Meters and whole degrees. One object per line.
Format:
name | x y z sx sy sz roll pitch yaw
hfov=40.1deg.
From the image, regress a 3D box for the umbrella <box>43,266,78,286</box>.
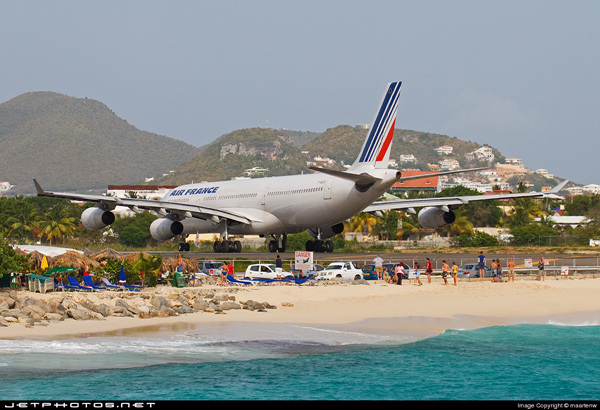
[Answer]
umbrella | -12.879 3.891 44.445 1.455 0.719 1.438 -3 -4 39
